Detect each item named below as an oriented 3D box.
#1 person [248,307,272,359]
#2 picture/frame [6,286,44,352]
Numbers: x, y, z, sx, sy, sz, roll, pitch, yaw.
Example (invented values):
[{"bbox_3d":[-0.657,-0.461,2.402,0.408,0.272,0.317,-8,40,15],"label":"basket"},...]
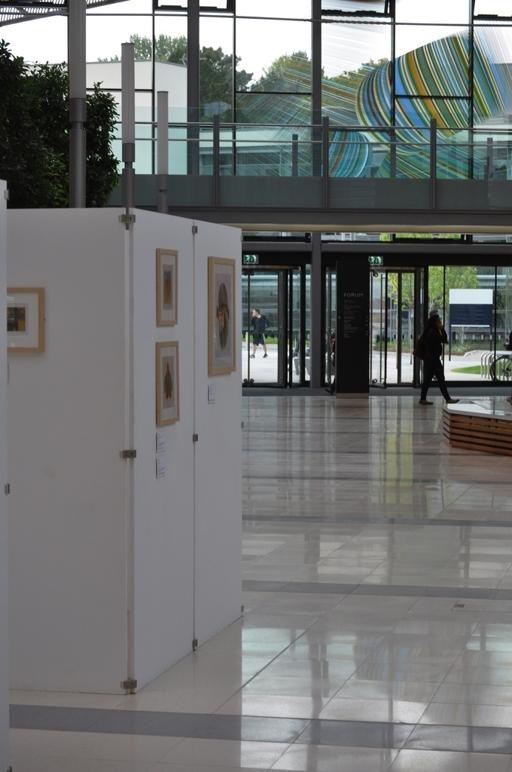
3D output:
[{"bbox_3d":[0.090,-1.518,25.497,0.461,1.339,0.183,-1,2,-9],"label":"person"},{"bbox_3d":[-1.024,-0.316,4.116,0.222,0.353,0.021,1,4,15],"label":"picture/frame"}]
